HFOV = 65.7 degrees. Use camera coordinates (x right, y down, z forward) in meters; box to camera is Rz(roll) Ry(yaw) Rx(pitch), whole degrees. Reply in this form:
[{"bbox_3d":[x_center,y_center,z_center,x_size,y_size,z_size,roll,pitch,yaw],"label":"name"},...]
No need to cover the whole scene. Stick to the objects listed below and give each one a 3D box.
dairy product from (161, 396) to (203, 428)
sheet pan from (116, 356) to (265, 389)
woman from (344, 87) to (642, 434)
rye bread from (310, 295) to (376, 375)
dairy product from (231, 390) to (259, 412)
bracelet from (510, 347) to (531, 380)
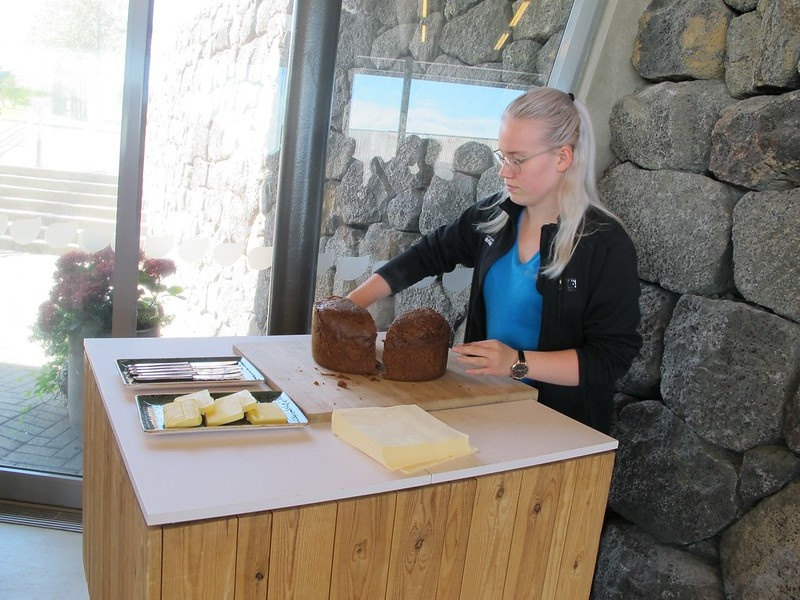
[{"bbox_3d":[-0.511,0.268,1.457,0.066,0.018,0.063,16,33,40],"label":"dairy product"},{"bbox_3d":[-0.574,0.200,1.714,0.235,0.024,0.153,0,10,-19],"label":"sheet pan"},{"bbox_3d":[0.403,0.107,2.418,1.014,1.675,0.770,8,23,27],"label":"woman"},{"bbox_3d":[-0.181,0.098,1.936,0.187,0.234,0.321,-7,15,-31],"label":"rye bread"},{"bbox_3d":[-0.381,0.249,1.528,0.048,0.013,0.048,-14,42,-37],"label":"dairy product"},{"bbox_3d":[0.373,0.209,1.968,0.061,0.093,0.090,1,8,-11],"label":"bracelet"}]
